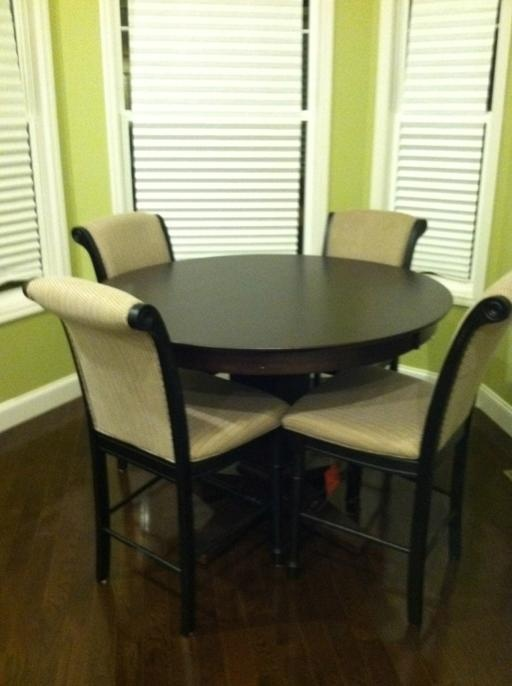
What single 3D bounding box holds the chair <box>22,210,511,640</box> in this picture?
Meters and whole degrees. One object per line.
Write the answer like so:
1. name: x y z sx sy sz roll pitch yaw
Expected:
1. chair: 0.007 0.086 1.713 1.130 0.947 1.338 -8 27 -13
